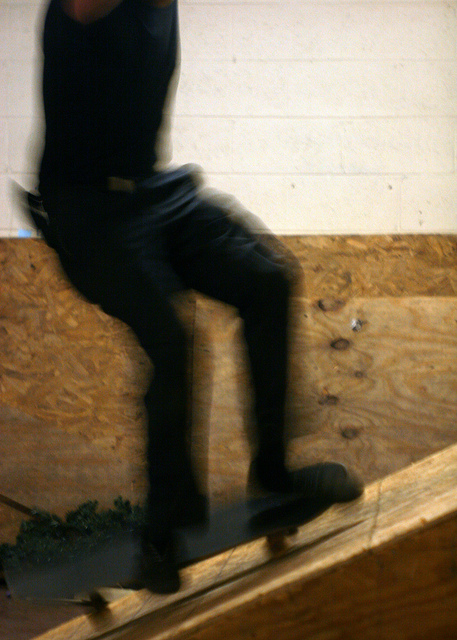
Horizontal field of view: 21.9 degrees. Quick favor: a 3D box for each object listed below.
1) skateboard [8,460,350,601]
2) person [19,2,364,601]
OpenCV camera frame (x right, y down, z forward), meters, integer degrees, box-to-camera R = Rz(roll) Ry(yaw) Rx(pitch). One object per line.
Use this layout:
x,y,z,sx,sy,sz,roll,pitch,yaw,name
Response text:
-0.134,0.589,3.230,0.928,0.403,0.079,1,16,-6,skateboard
-0.156,-0.055,3.257,0.833,1.535,0.518,0,17,-8,person
